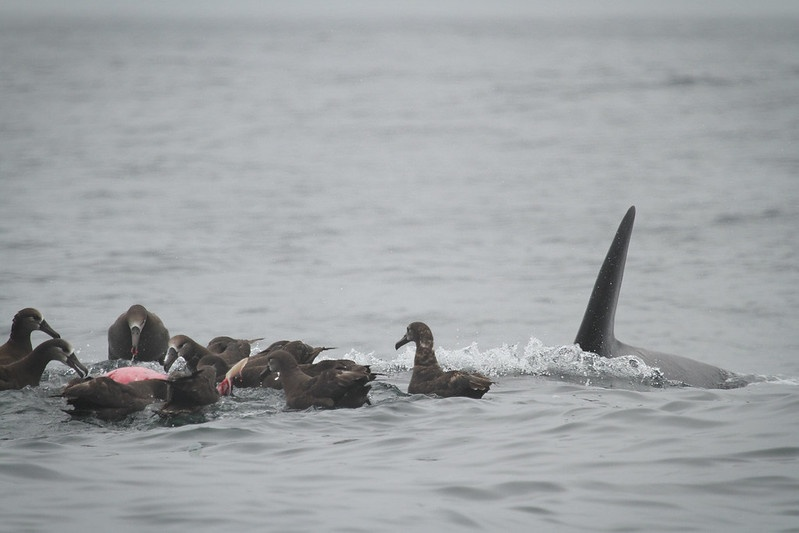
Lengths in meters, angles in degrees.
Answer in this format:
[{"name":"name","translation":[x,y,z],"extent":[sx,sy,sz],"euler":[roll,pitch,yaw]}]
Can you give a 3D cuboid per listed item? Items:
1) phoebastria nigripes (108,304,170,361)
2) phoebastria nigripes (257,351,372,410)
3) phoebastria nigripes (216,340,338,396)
[{"name":"phoebastria nigripes","translation":[-2.869,0.694,14.797],"extent":[0.634,0.459,0.831],"euler":[1,11,-6]},{"name":"phoebastria nigripes","translation":[-0.800,1.135,13.743],"extent":[1.177,0.579,0.431],"euler":[-10,-2,25]},{"name":"phoebastria nigripes","translation":[-1.177,0.914,14.417],"extent":[0.353,0.791,0.425],"euler":[43,35,-15]}]
